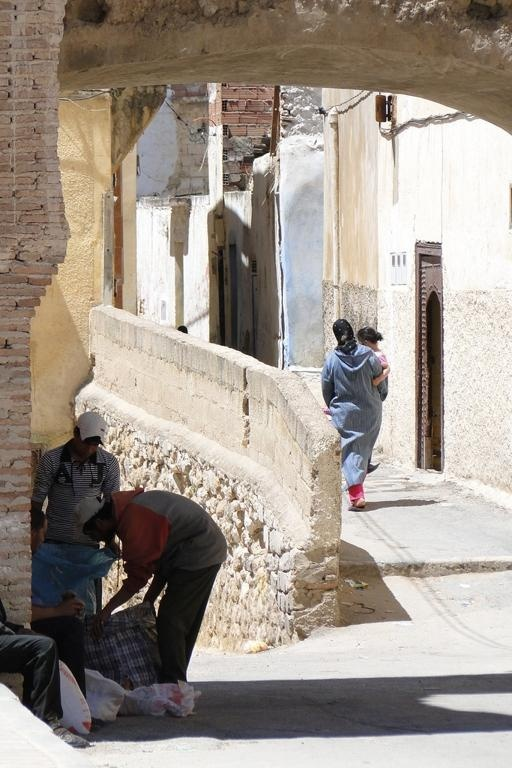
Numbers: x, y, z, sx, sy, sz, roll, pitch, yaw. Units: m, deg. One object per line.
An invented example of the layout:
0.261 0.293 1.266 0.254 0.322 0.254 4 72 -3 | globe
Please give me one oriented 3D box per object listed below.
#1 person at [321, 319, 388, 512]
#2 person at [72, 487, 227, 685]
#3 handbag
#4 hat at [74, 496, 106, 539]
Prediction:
0.653 0.196 9.413 0.435 1.294 0.683 0 8 -4 | person
-0.378 0.893 5.955 0.657 1.081 0.612 0 -25 -1 | person
-0.546 1.082 5.694 0.260 0.323 0.170 -8 -21 -41 | handbag
-0.670 0.533 5.667 0.111 0.165 0.234 -1 8 -12 | hat
